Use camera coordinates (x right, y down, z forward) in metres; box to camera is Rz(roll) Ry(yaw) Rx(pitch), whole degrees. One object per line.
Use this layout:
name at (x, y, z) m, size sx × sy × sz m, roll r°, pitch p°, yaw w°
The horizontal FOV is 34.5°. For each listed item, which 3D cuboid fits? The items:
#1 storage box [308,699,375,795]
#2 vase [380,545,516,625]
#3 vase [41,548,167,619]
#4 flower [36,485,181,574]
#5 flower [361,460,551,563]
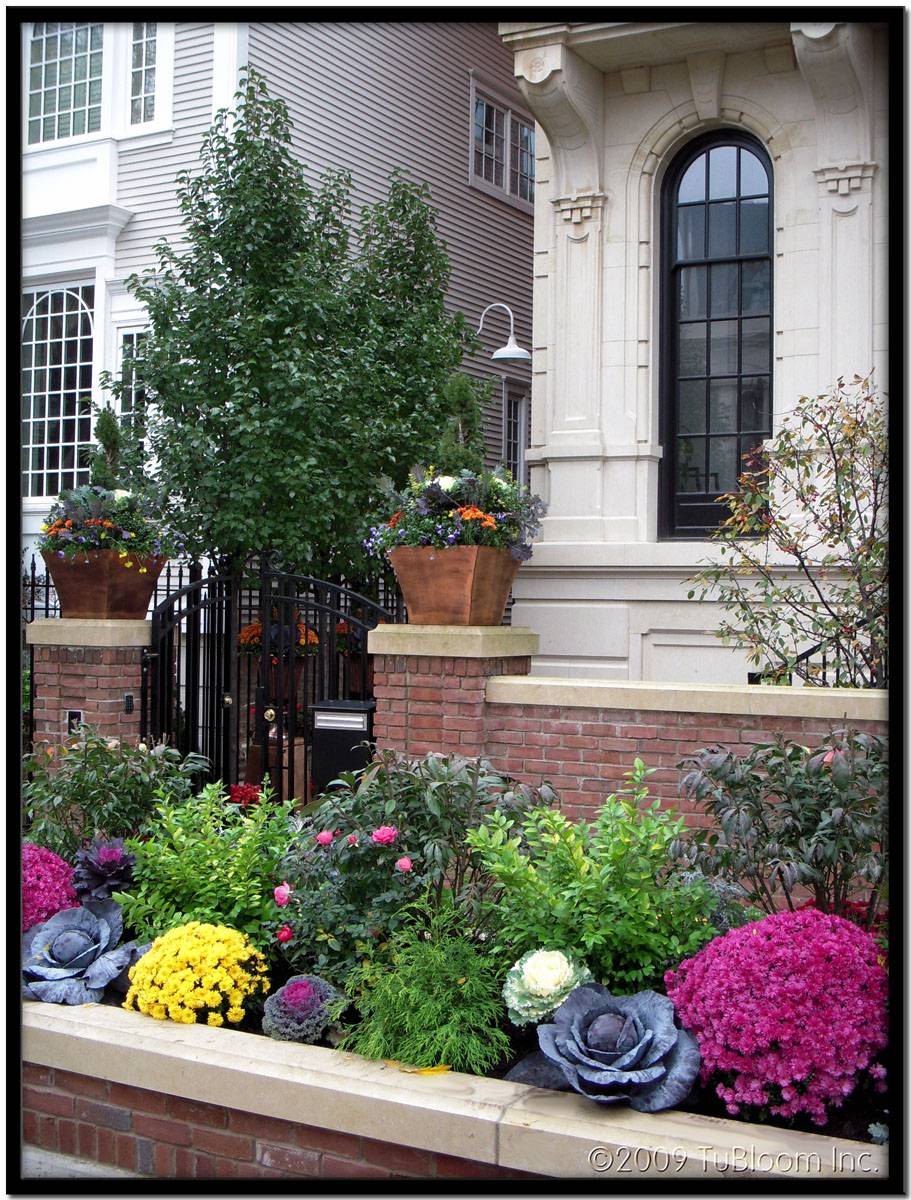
storage box at (-0.593, 0.741, 7.585) m, size 0.370 × 0.496 × 0.366 m, roll 7°, pitch 15°, yaw 18°
vase at (-0.003, -0.056, 7.153) m, size 0.504 × 0.303 × 0.428 m, roll 1°, pitch -9°, yaw 4°
vase at (-2.056, -0.085, 8.553) m, size 0.680 × 0.405 × 0.412 m, roll 0°, pitch 3°, yaw -14°
flower at (-2.147, -0.423, 8.586) m, size 0.565 × 0.382 × 0.570 m, roll 0°, pitch 1°, yaw 39°
flower at (0.022, -0.435, 7.303) m, size 0.684 × 0.457 × 0.649 m, roll -2°, pitch 4°, yaw -44°
